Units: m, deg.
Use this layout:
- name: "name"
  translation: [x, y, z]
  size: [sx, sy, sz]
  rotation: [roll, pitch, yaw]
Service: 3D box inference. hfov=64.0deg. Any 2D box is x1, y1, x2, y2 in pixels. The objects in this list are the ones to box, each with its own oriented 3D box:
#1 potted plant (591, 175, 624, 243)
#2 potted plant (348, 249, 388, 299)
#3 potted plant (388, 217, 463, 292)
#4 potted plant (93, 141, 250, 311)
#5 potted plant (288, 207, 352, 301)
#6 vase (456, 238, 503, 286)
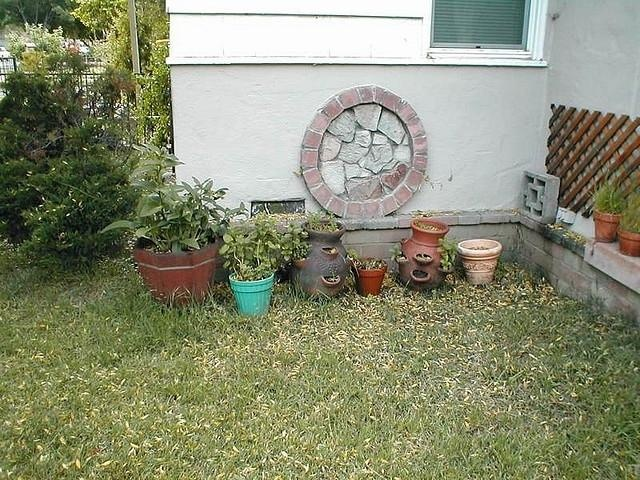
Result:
- name: "potted plant"
  translation: [2.293, -0.218, 4.093]
  size: [0.217, 0.430, 0.251]
  rotation: [4, 8, 1]
- name: "potted plant"
  translation: [0.422, 0.306, 4.582]
  size: [0.321, 0.310, 0.374]
  rotation: [1, 5, 2]
- name: "potted plant"
  translation: [0.945, 0.158, 4.748]
  size: [0.503, 0.574, 0.542]
  rotation: [9, 12, 2]
- name: "potted plant"
  translation: [-1.186, -0.044, 4.329]
  size: [0.627, 1.229, 0.960]
  rotation: [-3, 8, 27]
- name: "potted plant"
  translation: [0.020, 0.174, 4.573]
  size: [0.483, 0.673, 0.534]
  rotation: [2, 13, -2]
- name: "vase"
  translation: [1.502, 0.224, 4.866]
  size: [0.388, 0.371, 0.424]
  rotation: [-2, 13, 13]
